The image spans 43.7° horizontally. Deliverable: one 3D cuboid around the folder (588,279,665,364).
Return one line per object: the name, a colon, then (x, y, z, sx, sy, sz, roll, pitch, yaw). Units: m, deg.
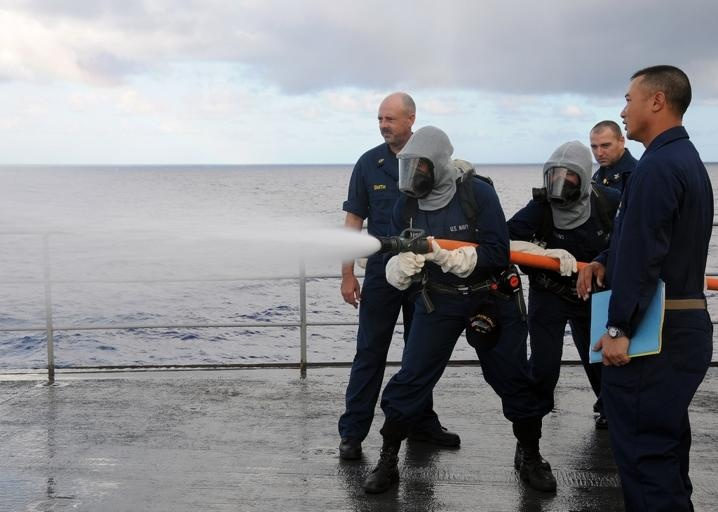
folder: (1.702, 0.417, 5.713, 0.535, 0.573, 0.275, 7, 12, 29)

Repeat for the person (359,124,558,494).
person: (0.651, 0.404, 6.526, 1.666, 2.397, 1.243, 0, -9, -34)

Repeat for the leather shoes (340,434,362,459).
leather shoes: (-0.051, 1.474, 6.873, 0.181, 0.145, 0.151, 1, 10, -1)

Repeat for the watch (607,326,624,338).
watch: (1.613, 0.475, 5.604, 0.089, 0.038, 0.069, 15, -8, -39)

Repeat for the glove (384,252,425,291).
glove: (0.341, 0.100, 6.370, 0.278, 0.295, 0.288, 2, 10, 1)

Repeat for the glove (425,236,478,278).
glove: (0.652, 0.015, 6.277, 0.382, 0.276, 0.142, 1, 11, -2)

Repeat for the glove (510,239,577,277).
glove: (1.432, -0.013, 6.821, 0.626, 0.246, 0.383, -1, 11, -5)

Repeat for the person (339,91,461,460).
person: (0.028, 0.164, 7.098, 1.253, 2.631, 1.158, 10, 19, 11)

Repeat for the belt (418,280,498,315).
belt: (0.726, 0.288, 6.457, 0.543, 0.230, 0.092, 1, 11, 0)
